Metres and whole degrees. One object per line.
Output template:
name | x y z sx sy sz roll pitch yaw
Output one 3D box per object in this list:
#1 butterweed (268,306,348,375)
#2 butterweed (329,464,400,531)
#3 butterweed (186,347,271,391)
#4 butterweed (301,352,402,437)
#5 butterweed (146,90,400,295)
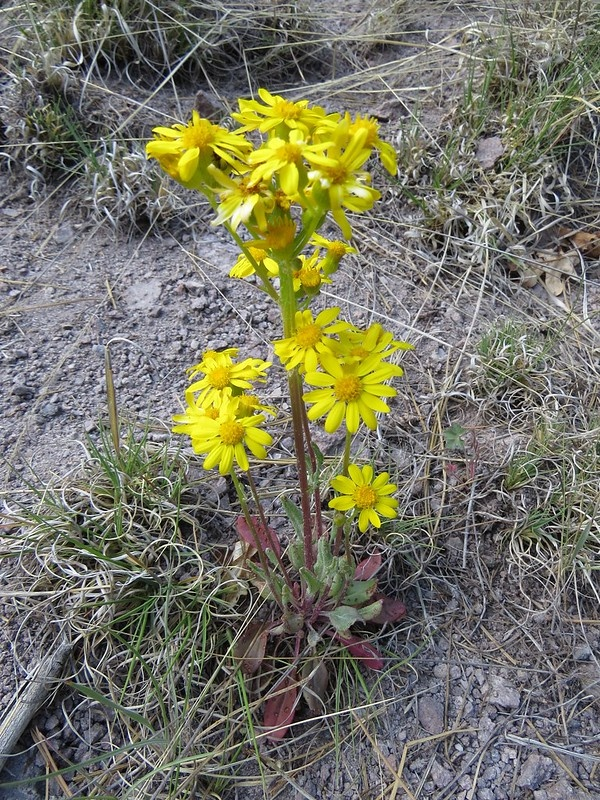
butterweed | 0.042 -0.124 1.581 0.201 0.196 0.056 -39 59 33
butterweed | 0.168 0.250 1.764 0.181 0.044 0.163 -19 61 -29
butterweed | -0.184 -0.055 1.734 0.150 0.046 0.139 24 62 35
butterweed | 0.120 -0.025 1.580 0.245 0.055 0.237 -5 45 17
butterweed | -0.042 -0.439 1.531 0.440 0.240 0.404 4 62 11
